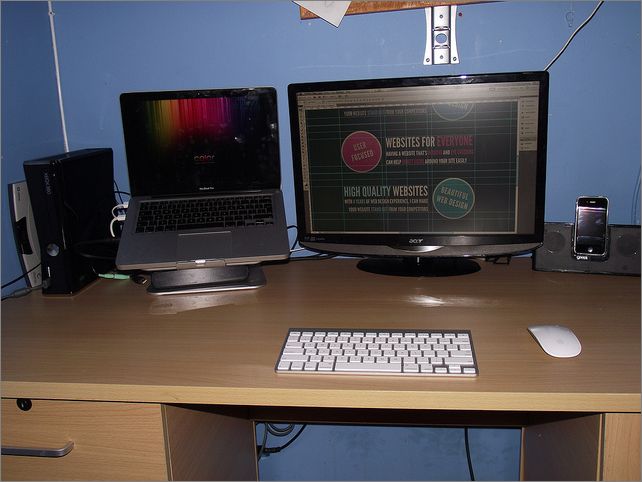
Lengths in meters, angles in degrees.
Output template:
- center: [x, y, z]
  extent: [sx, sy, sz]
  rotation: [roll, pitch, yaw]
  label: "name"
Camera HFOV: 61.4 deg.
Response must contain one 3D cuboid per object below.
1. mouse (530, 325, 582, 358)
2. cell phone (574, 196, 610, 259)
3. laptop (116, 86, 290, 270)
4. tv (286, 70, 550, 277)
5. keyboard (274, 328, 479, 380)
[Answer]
- center: [0.520, 0.219, 1.189]
  extent: [0.086, 0.044, 0.097]
  rotation: [-3, 11, -7]
  label: "mouse"
- center: [0.760, -0.030, 1.510]
  extent: [0.099, 0.173, 0.074]
  rotation: [8, 13, 12]
  label: "cell phone"
- center: [-0.350, -0.199, 1.670]
  extent: [0.512, 0.531, 0.373]
  rotation: [2, 16, -4]
  label: "laptop"
- center: [0.260, -0.203, 1.491]
  extent: [0.696, 0.495, 0.039]
  rotation: [0, 11, 8]
  label: "tv"
- center: [0.122, 0.246, 1.173]
  extent: [0.420, 0.038, 0.150]
  rotation: [-1, 24, 8]
  label: "keyboard"
